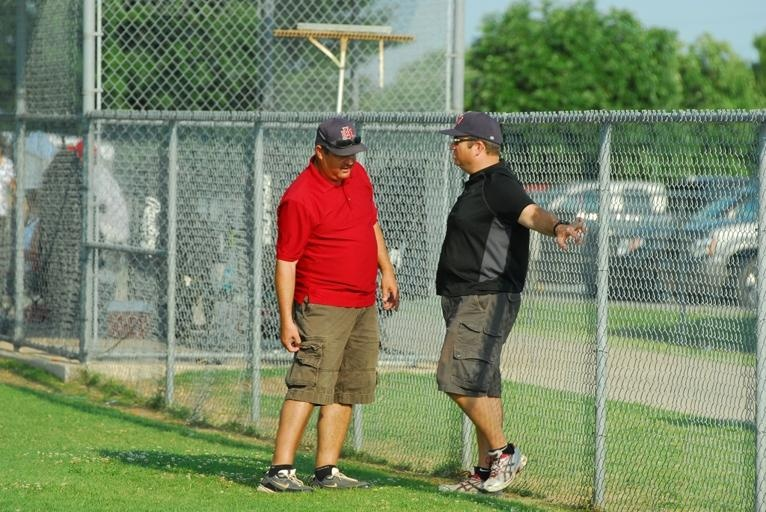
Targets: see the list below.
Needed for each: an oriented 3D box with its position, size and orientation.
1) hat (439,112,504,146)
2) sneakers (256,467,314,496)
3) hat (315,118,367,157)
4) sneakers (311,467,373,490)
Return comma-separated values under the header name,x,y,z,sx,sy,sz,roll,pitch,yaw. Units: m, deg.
name,x,y,z,sx,sy,sz,roll,pitch,yaw
hat,0.736,-1.034,11.195,0.356,0.217,0.269,2,6,2
sneakers,-0.794,1.793,11.093,0.477,0.251,0.176,3,1,-8
hat,-0.340,-0.956,11.179,0.356,0.281,0.473,-6,18,-31
sneakers,-0.329,1.780,11.246,0.496,0.241,0.182,1,-1,-2
